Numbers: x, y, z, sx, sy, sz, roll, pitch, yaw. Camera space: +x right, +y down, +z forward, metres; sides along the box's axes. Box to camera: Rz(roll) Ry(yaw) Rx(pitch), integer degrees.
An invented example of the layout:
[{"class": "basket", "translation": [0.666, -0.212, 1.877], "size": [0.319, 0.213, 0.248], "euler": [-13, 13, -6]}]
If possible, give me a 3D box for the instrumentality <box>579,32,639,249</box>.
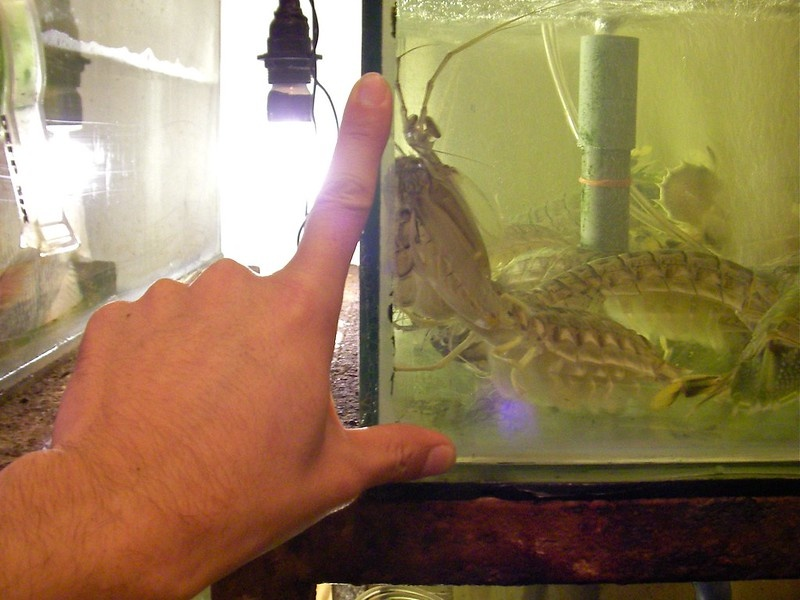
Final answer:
[{"class": "instrumentality", "translation": [0.218, -0.163, 0.764], "size": [0.059, 0.223, 0.044], "euler": [1, 15, 12]}]
